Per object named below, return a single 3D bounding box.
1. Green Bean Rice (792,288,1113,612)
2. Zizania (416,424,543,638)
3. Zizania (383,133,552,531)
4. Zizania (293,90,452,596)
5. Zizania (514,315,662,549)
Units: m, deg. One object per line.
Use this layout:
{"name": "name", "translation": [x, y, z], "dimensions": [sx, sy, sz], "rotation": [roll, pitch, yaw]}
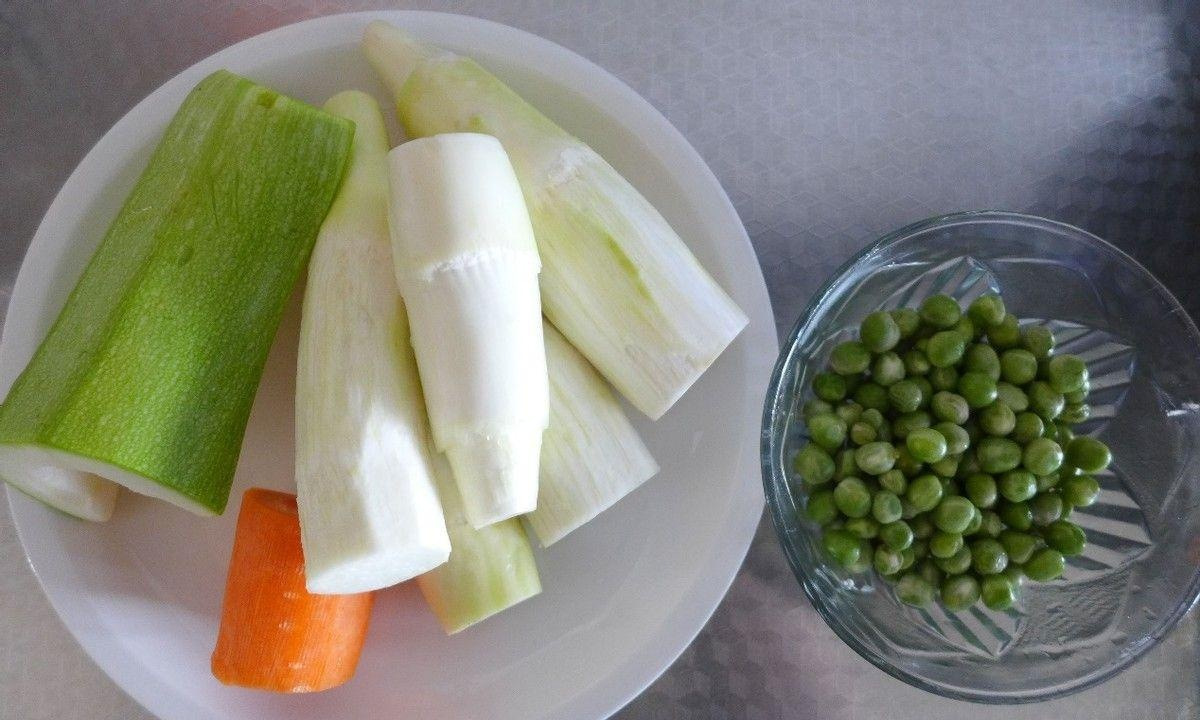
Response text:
{"name": "Green Bean Rice", "translation": [0.368, 0.048, 1.095], "dimensions": [0.305, 0.168, 0.328], "rotation": [8, 96, 3]}
{"name": "Zizania", "translation": [-0.136, 0.180, 1.076], "dimensions": [0.119, 0.223, 0.051], "rotation": [-19, 33, -20]}
{"name": "Zizania", "translation": [-0.120, -0.024, 1.078], "dimensions": [0.153, 0.156, 0.382], "rotation": [-8, 88, 17]}
{"name": "Zizania", "translation": [-0.230, 0.004, 1.089], "dimensions": [0.155, 0.132, 0.462], "rotation": [-4, 84, 1]}
{"name": "Zizania", "translation": [-0.028, 0.083, 1.122], "dimensions": [0.136, 0.084, 0.232], "rotation": [-27, 91, -9]}
